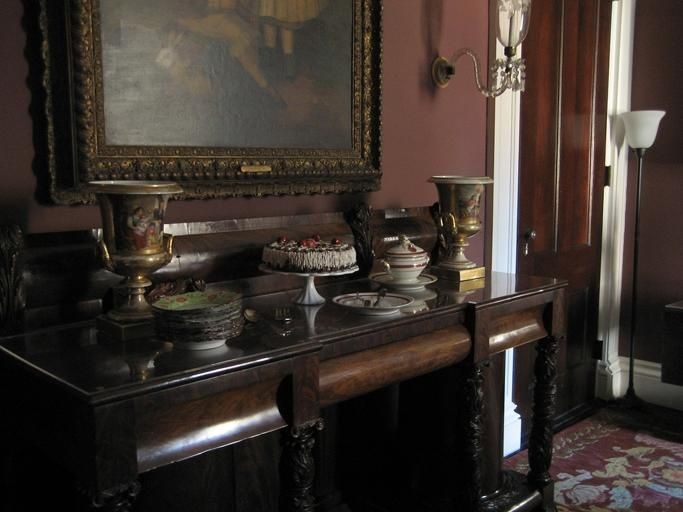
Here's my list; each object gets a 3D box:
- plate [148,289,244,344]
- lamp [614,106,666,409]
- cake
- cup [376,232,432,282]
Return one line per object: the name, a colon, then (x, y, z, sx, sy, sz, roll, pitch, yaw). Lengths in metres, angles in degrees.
plate: (-0.421, 0.177, 1.658, 0.249, 0.114, 0.293, -3, 9, -13)
lamp: (2.086, 0.012, 3.990, 0.280, 2.056, 0.438, 3, 10, 28)
cake: (-0.117, -0.008, 1.977, 0.238, 0.103, 0.251, -8, 10, -36)
cup: (0.249, 0.006, 2.229, 0.195, 0.172, 0.169, 0, 0, 34)
